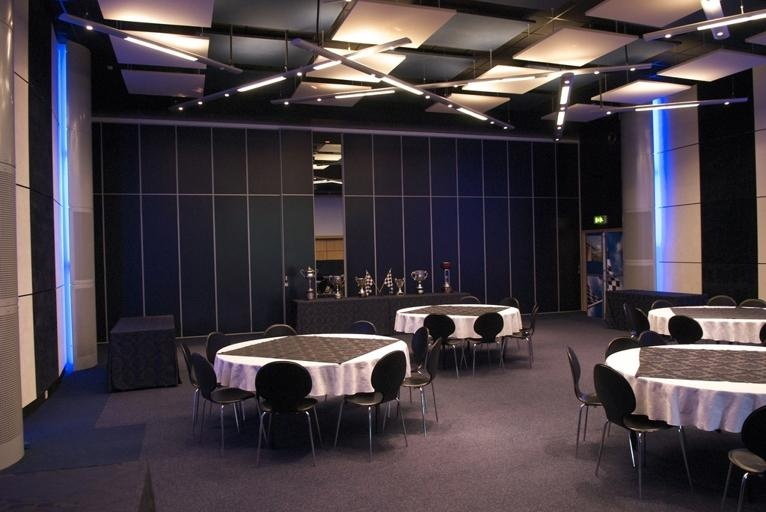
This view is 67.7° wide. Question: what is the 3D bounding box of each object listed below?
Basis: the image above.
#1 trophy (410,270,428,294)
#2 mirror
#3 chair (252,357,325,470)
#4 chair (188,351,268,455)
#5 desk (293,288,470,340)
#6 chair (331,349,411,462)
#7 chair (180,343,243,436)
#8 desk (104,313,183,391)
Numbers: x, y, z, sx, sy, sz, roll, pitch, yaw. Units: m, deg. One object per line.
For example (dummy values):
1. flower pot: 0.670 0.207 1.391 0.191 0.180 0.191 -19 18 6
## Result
1. trophy: 0.807 0.606 13.016 0.551 0.647 0.475 0 -4 -5
2. mirror: -1.360 -1.269 13.938 0.862 4.097 0.063 -4 -21 11
3. chair: -1.198 1.744 6.919 0.801 1.267 1.058 -4 14 -10
4. chair: -1.997 1.765 7.092 0.658 1.000 0.602 3 0 -36
5. desk: 0.013 1.262 12.428 3.867 0.849 0.629 -1 6 -17
6. chair: -0.174 1.731 7.032 0.745 1.169 0.784 -3 6 -32
7. chair: -2.169 1.575 7.065 0.519 0.729 0.475 6 -16 -7
8. desk: -3.780 1.517 8.835 1.089 0.794 1.077 1 -2 -36
